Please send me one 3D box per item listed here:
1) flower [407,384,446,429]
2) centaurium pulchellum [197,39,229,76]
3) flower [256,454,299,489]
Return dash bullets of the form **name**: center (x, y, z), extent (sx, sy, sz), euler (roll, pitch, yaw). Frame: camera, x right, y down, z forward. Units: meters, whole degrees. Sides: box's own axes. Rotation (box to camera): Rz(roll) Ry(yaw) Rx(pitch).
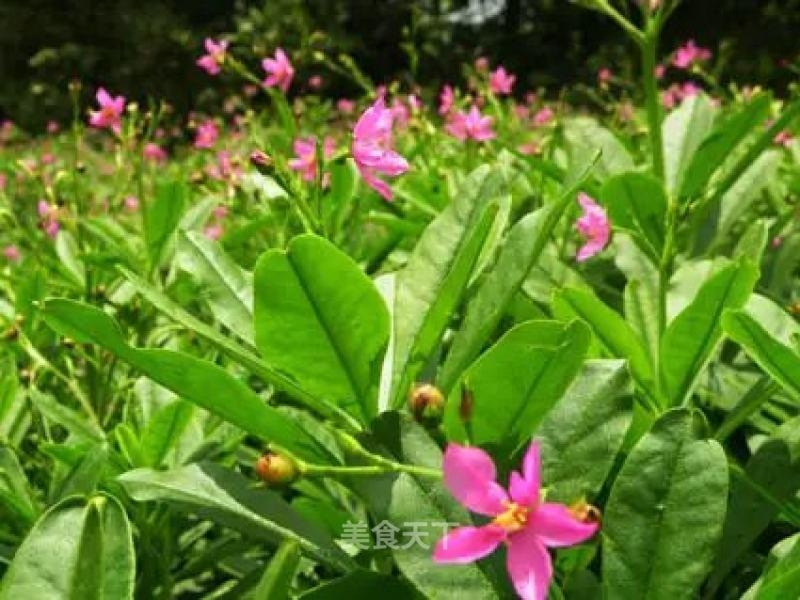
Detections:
- **flower**: center (0.025, 0.102, 0.881), extent (0.022, 0.030, 0.042), euler (-19, 49, 24)
- **centaurium pulchellum**: center (-0.238, -0.317, 1.161), extent (0.018, 0.049, 0.043), euler (9, -26, -33)
- **flower**: center (-0.115, 0.158, 0.846), extent (0.040, 0.037, 0.012), euler (5, 4, 14)
